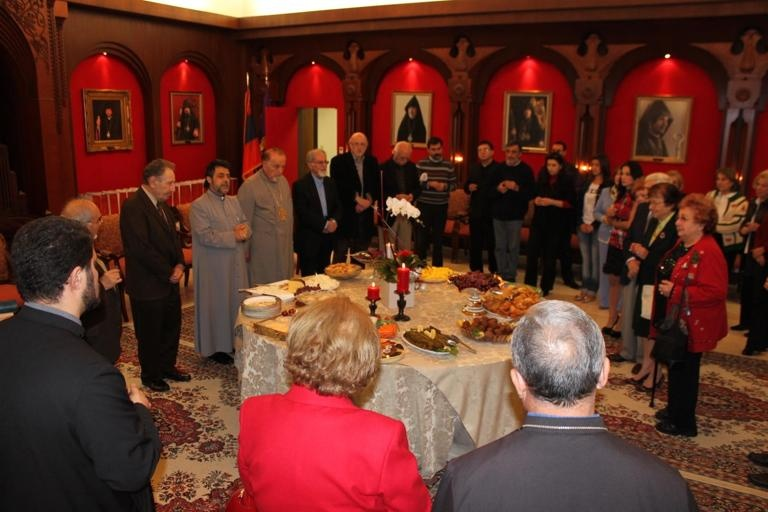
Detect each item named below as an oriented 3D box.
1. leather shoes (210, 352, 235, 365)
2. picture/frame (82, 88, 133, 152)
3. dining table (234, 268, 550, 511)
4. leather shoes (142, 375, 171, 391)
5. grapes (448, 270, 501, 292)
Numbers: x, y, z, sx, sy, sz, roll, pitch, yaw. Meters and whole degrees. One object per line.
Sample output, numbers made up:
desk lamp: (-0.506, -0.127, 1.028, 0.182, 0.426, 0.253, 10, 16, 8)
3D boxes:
leather shoes: (-1.849, 1.176, 6.417, 0.243, 0.108, 0.084, 24, 23, 25)
picture/frame: (-5.133, -2.517, 10.385, 1.028, 1.098, 0.086, 3, 8, 15)
dining table: (0.071, 0.800, 3.362, 1.531, 0.602, 1.604, 0, 9, 2)
leather shoes: (-2.381, 1.332, 5.860, 0.269, 0.128, 0.137, 2, 11, 1)
grapes: (0.892, 0.223, 5.158, 0.286, 0.106, 0.253, -3, 5, -42)
